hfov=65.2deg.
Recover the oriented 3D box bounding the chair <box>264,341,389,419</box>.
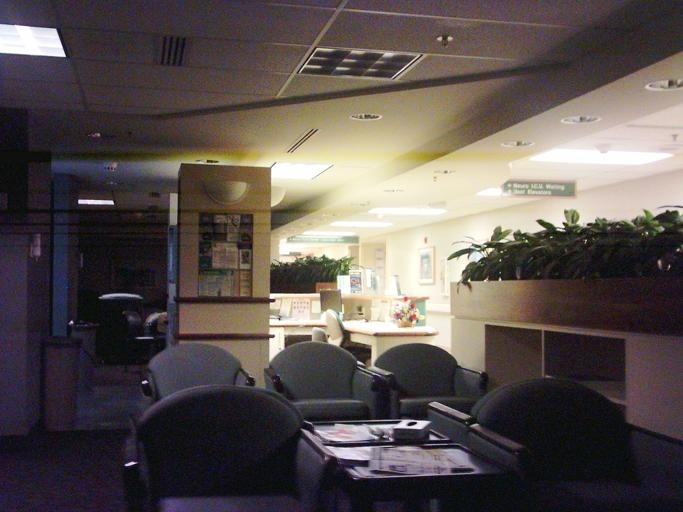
[{"bbox_3d":[-0.130,0.901,3.819,0.720,0.585,0.580,2,-9,-15],"label":"chair"}]

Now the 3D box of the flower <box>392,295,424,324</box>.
[{"bbox_3d":[0.762,0.603,5.788,0.336,0.309,0.468,-1,-2,9],"label":"flower"}]

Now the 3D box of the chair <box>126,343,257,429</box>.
[{"bbox_3d":[-1.051,0.806,3.746,0.721,0.608,0.576,1,-4,-22],"label":"chair"}]

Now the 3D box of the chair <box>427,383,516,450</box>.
[{"bbox_3d":[0.591,0.692,2.297,0.304,0.217,0.298,5,-1,-18],"label":"chair"}]

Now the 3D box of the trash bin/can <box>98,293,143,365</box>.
[{"bbox_3d":[-3.250,1.055,7.811,0.678,1.038,0.411,0,-2,-38],"label":"trash bin/can"}]

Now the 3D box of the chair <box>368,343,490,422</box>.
[{"bbox_3d":[0.631,0.833,3.675,0.639,0.521,0.487,1,-8,-11],"label":"chair"}]

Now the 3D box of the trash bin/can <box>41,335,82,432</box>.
[{"bbox_3d":[-2.588,1.176,4.916,0.306,0.834,0.211,0,-2,-23],"label":"trash bin/can"}]

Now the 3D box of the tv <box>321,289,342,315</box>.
[{"bbox_3d":[-0.095,0.568,6.706,0.278,0.335,0.296,1,-6,10],"label":"tv"}]
